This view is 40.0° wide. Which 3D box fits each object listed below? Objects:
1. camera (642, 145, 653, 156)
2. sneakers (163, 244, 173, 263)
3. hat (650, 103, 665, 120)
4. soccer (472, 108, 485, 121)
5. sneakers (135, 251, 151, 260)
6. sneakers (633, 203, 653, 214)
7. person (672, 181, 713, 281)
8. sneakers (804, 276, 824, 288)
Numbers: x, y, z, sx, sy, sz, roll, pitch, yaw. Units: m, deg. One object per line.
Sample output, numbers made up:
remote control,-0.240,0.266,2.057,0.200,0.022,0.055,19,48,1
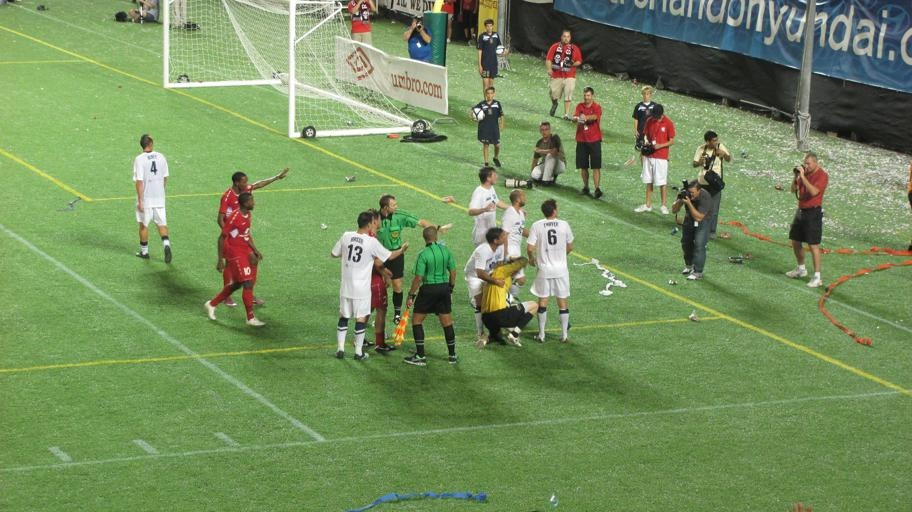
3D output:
camera,5.350,-2.902,34.892,0.359,0.307,0.179,7,18,16
sneakers,-7.252,-0.032,31.347,0.218,0.447,0.227,-2,6,-5
hat,5.577,-3.971,34.742,0.441,0.435,0.506,0,-5,5
soccer,0.648,-4.106,36.807,0.390,0.316,0.365,6,3,-22
sneakers,-7.908,-0.004,31.525,0.141,0.132,0.374,-7,14,-44
sneakers,5.250,-1.290,35.357,0.628,0.207,0.185,0,10,-2
person,6.009,-0.659,31.897,0.833,2.411,0.954,-3,19,-18
sneakers,9.083,0.685,31.738,0.232,0.231,0.446,4,7,44
